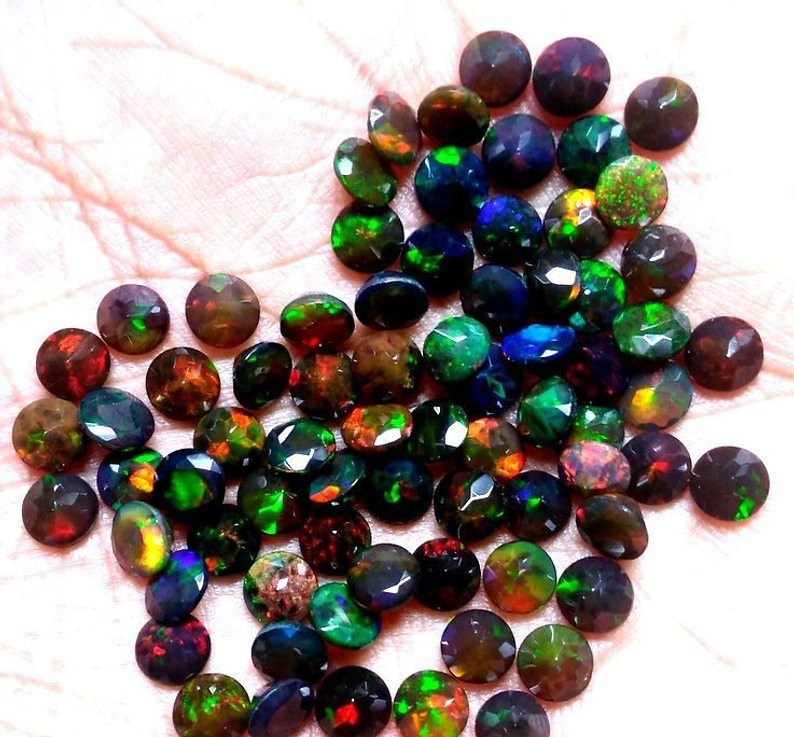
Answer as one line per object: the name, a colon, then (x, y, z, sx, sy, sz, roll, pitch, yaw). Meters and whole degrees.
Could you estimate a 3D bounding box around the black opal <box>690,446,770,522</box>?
black opal: (0.481, 0.166, 1.218, 0.106, 0.041, 0.098, -3, -73, -3)

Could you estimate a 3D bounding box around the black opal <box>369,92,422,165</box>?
black opal: (-0.003, -0.346, 1.213, 0.068, 0.058, 0.103, -25, -80, -28)

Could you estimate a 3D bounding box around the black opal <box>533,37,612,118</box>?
black opal: (0.256, -0.430, 1.238, 0.105, 0.038, 0.110, 38, -79, -13)

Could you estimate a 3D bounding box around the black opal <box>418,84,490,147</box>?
black opal: (0.087, -0.381, 1.258, 0.093, 0.056, 0.086, 5, -47, 13)

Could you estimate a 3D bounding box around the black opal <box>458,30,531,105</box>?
black opal: (0.146, -0.448, 1.243, 0.103, 0.038, 0.101, 31, -78, -12)
